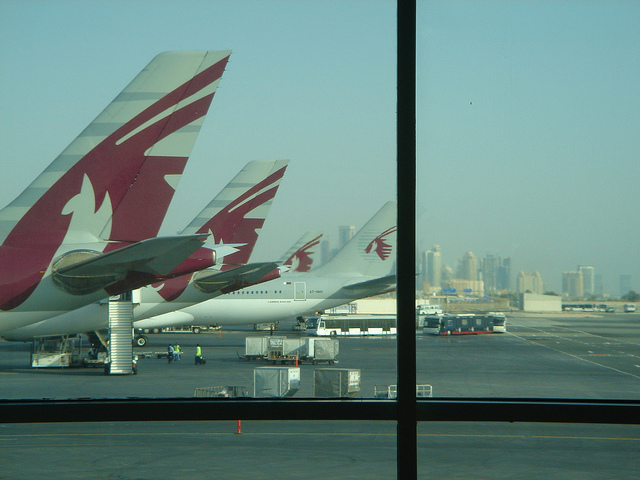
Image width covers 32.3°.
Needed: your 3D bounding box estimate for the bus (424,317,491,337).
[{"bbox_3d":[6.081,3.680,47.423,3.081,0.661,1.049,3,-4,-34],"label":"bus"}]
